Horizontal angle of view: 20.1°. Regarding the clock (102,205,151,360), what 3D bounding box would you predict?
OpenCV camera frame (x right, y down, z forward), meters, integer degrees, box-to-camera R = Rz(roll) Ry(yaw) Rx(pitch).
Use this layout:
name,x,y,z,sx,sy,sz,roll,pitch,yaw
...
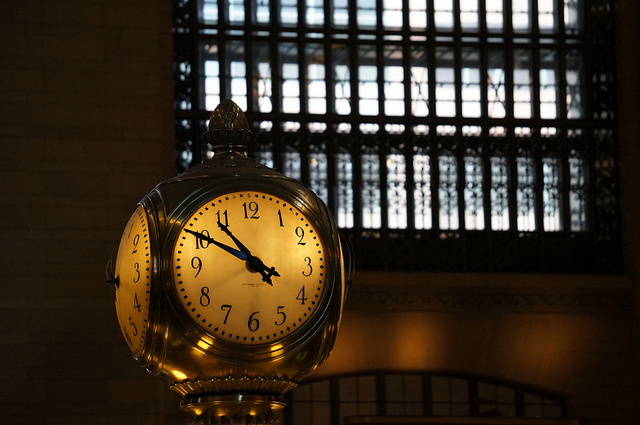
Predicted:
name,x,y,z,sx,sy,sz,roll,pitch,yaw
clock,-2.463,0.972,22.706,0.424,1.727,1.731,-1,-26,-11

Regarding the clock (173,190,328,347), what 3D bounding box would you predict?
name,x,y,z,sx,sy,sz,roll,pitch,yaw
clock,-0.866,0.690,20.536,1.672,1.644,0.149,2,-5,-3
